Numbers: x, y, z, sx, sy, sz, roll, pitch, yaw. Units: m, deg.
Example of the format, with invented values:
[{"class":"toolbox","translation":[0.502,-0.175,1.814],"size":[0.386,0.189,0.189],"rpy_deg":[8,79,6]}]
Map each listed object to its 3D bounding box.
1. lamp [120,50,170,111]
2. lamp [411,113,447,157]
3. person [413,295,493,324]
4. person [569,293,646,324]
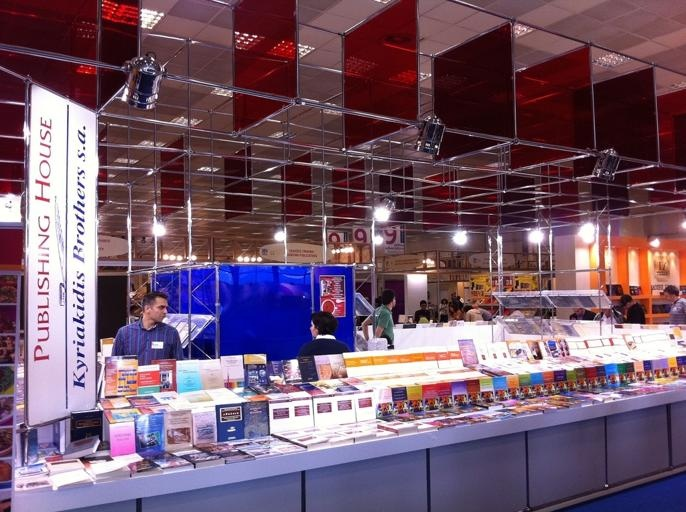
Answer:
[{"class":"lamp","translation":[-1.417,-1.268,4.337],"size":[0.280,0.430,0.328],"rpy_deg":[-1,-4,-20]},{"class":"lamp","translation":[0.786,-1.083,5.406],"size":[0.246,0.355,0.499],"rpy_deg":[-3,-4,2]},{"class":"person","translation":[2.735,1.283,14.738],"size":[1.752,0.392,0.911],"rpy_deg":[-11,-22,28]},{"class":"person","translation":[4.727,0.941,10.737],"size":[1.101,0.507,4.365],"rpy_deg":[-3,-4,22]}]
